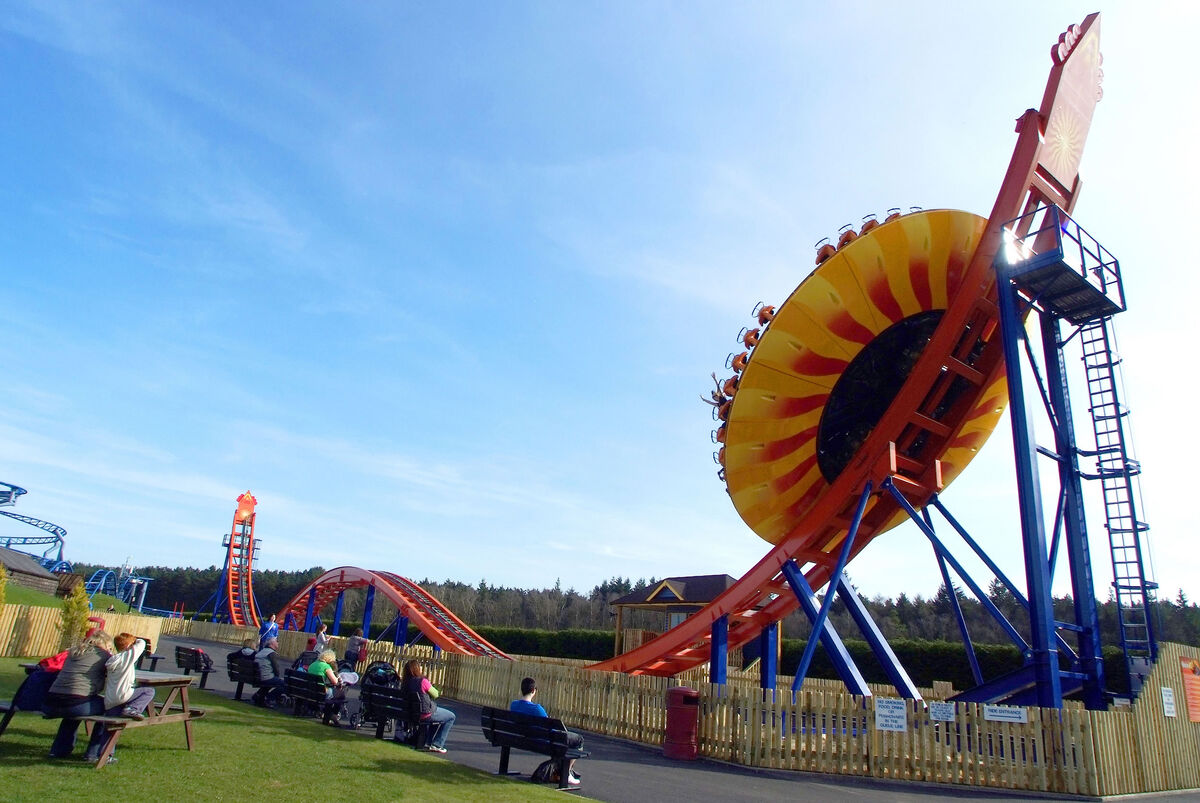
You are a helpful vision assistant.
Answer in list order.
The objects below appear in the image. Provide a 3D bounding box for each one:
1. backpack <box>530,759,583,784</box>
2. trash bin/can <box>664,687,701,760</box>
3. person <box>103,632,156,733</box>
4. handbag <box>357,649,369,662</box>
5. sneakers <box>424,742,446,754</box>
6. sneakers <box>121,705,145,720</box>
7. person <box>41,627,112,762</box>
[{"bbox_3d":[-0.813,6.631,13.692,0.824,0.391,0.538,-5,-10,-3],"label":"backpack"},{"bbox_3d":[1.832,7.122,16.999,0.657,1.413,0.333,4,-13,-8],"label":"trash bin/can"},{"bbox_3d":[-7.596,4.380,12.283,0.717,1.232,0.697,-3,-4,-28],"label":"person"},{"bbox_3d":[-7.773,8.234,24.844,0.383,0.333,0.634,21,-18,-13],"label":"handbag"},{"bbox_3d":[-3.175,6.678,14.714,0.336,0.160,0.149,-9,-23,24],"label":"sneakers"},{"bbox_3d":[-7.397,4.939,12.170,0.147,0.190,0.437,-14,-15,36],"label":"sneakers"},{"bbox_3d":[-8.283,4.596,12.053,0.751,1.909,0.908,11,-16,-33],"label":"person"}]
